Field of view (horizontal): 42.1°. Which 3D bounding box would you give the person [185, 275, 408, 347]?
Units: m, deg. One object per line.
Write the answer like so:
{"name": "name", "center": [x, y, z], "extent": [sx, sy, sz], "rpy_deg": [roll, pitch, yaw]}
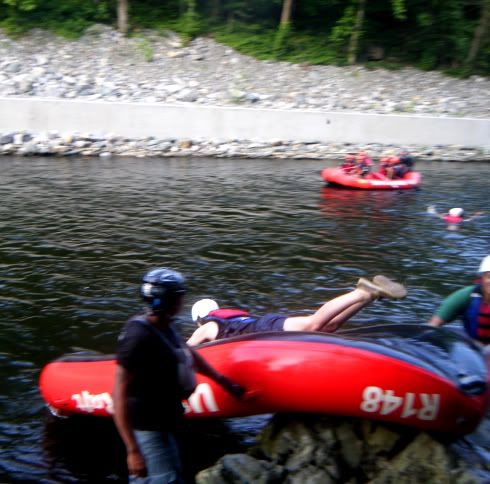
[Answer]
{"name": "person", "center": [0.364, 0.698, 6.261], "extent": [2.311, 0.412, 1.140], "rpy_deg": [-15, -10, 31]}

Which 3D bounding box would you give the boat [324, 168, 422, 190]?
{"name": "boat", "center": [3.588, -1.679, 17.637], "extent": [2.462, 0.297, 0.900], "rpy_deg": [3, 7, -16]}

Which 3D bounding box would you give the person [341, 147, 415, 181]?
{"name": "person", "center": [3.844, -2.250, 18.256], "extent": [2.179, 0.493, 1.048], "rpy_deg": [-2, 21, -4]}

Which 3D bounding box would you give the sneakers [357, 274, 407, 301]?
{"name": "sneakers", "center": [1.236, 0.403, 5.691], "extent": [0.360, 0.073, 0.295], "rpy_deg": [8, -2, -22]}

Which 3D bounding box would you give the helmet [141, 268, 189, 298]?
{"name": "helmet", "center": [-0.576, 0.303, 4.604], "extent": [0.399, 0.174, 0.234], "rpy_deg": [-4, 8, -9]}

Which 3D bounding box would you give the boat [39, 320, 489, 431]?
{"name": "boat", "center": [0.463, 1.058, 5.684], "extent": [2.863, 0.389, 1.370], "rpy_deg": [0, -3, 14]}
